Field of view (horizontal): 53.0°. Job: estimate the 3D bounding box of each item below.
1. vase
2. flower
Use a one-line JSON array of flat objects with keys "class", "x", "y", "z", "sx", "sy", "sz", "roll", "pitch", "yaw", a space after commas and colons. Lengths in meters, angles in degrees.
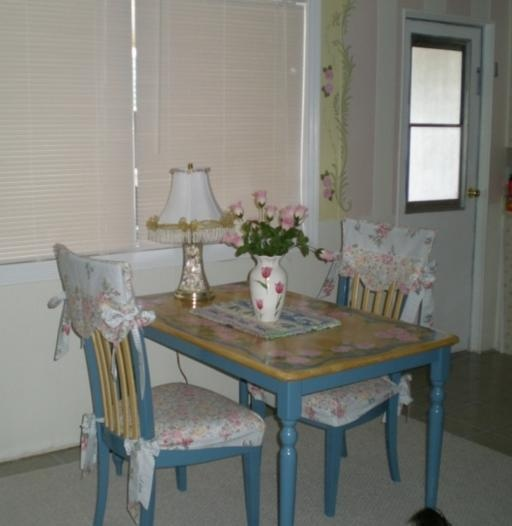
[{"class": "vase", "x": 0.038, "y": 0.080, "z": 1.771, "sx": 0.112, "sy": 0.247, "sz": 0.127, "roll": 1, "pitch": 2, "yaw": 2}, {"class": "flower", "x": 0.108, "y": -0.116, "z": 1.792, "sx": 0.348, "sy": 0.215, "sz": 0.281, "roll": 13, "pitch": 0, "yaw": -1}]
